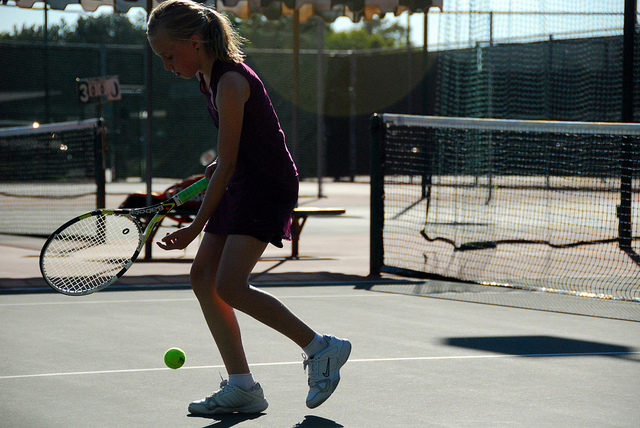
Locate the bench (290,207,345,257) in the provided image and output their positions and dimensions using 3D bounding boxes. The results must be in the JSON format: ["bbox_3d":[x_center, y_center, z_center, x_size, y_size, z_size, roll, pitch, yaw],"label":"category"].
[{"bbox_3d":[-0.067,0.334,11.735,0.837,0.823,1.060,4,0,-13],"label":"bench"}]

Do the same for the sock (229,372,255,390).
[{"bbox_3d":[-0.624,1.345,5.945,0.201,0.133,0.049,-1,8,-8],"label":"sock"}]

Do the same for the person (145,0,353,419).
[{"bbox_3d":[-0.601,0.001,5.800,1.360,3.265,0.561,-3,9,-16],"label":"person"}]

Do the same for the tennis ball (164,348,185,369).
[{"bbox_3d":[-1.288,1.279,6.572,0.161,0.177,0.172,5,-6,1],"label":"tennis ball"}]

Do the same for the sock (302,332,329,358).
[{"bbox_3d":[-0.028,1.061,6.009,0.230,0.161,0.120,-24,-14,-44],"label":"sock"}]
